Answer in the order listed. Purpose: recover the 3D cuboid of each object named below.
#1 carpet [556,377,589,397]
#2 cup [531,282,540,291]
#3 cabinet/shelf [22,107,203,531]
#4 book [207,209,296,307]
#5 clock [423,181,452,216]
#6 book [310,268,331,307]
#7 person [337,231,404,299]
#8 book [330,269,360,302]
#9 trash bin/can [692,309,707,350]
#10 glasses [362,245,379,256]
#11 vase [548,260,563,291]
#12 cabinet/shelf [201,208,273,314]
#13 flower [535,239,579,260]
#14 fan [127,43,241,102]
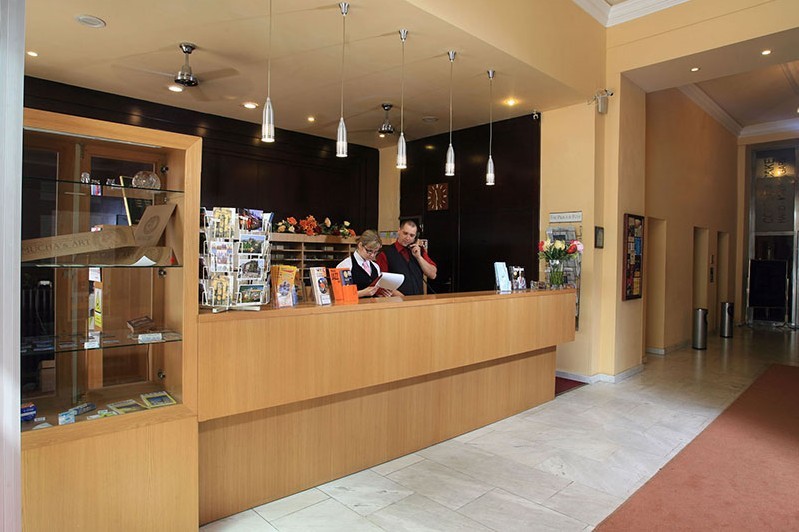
[{"bbox_3d":[2.364,1.689,7.561,0.416,0.086,0.851,5,11,19],"label":"carpet"},{"bbox_3d":[1.721,0.268,6.911,0.098,0.116,0.107,0,-3,0],"label":"cup"},{"bbox_3d":[-1.975,0.030,4.158,0.855,2.240,0.403,1,10,-1],"label":"cabinet/shelf"},{"bbox_3d":[-1.251,-0.024,4.788,0.838,1.138,0.682,1,4,-20],"label":"book"},{"bbox_3d":[0.633,-1.160,9.286,0.117,0.503,0.526,-8,14,-43],"label":"clock"},{"bbox_3d":[-0.749,0.201,4.880,0.076,0.306,0.219,-9,-3,25],"label":"book"},{"bbox_3d":[-0.343,0.257,5.926,0.644,1.209,0.599,4,2,7],"label":"person"},{"bbox_3d":[-0.531,0.186,5.077,0.191,0.362,0.272,-12,-7,41],"label":"book"},{"bbox_3d":[5.688,1.212,10.332,0.260,0.734,0.411,5,11,21],"label":"trash bin/can"},{"bbox_3d":[-0.311,-0.152,5.833,0.119,0.127,0.040,-4,-33,-33],"label":"glasses"},{"bbox_3d":[2.078,0.103,7.282,0.188,0.356,0.405,4,11,16],"label":"vase"},{"bbox_3d":[-1.328,-0.049,4.436,0.533,0.798,0.179,-2,10,-17],"label":"cabinet/shelf"},{"bbox_3d":[2.108,-0.199,7.318,0.353,0.236,0.361,-4,2,-1],"label":"flower"},{"bbox_3d":[-2.595,-2.399,6.533,0.616,0.256,0.715,-2,-5,11],"label":"fan"}]
